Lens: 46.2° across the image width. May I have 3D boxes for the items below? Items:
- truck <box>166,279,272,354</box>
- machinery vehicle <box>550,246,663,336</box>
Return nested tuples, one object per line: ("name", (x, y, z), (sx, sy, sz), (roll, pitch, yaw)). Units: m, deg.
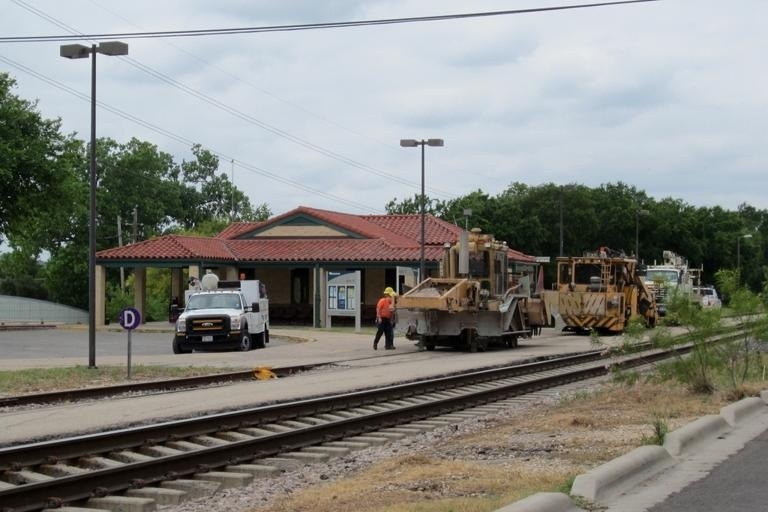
("truck", (-5.920, 2.192, 33.794), (2.261, 2.921, 3.884), (-1, -6, 17))
("machinery vehicle", (10.550, 1.688, 42.736), (3.261, 3.763, 6.340), (-3, -6, 23))
